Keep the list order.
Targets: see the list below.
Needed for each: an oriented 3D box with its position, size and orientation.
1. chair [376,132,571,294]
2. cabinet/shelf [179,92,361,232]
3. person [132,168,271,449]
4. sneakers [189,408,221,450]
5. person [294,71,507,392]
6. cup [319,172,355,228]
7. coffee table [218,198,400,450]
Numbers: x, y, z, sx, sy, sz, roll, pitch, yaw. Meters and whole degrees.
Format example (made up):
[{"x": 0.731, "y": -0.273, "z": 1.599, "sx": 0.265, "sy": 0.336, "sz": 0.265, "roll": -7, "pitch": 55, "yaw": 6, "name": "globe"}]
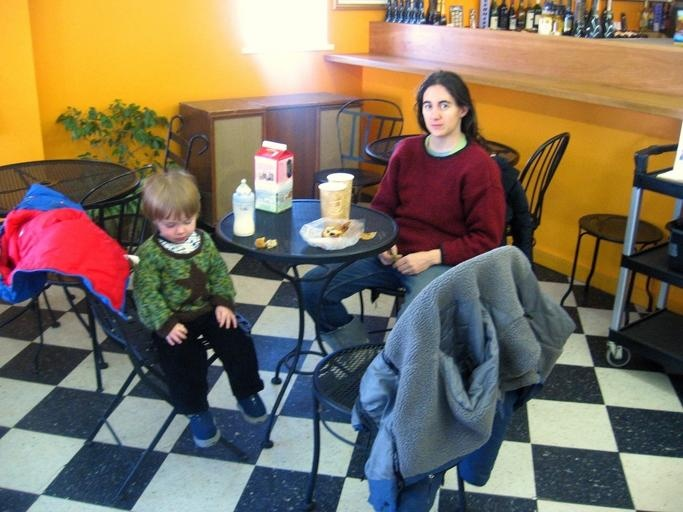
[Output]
[{"x": 0.953, "y": -0.321, "z": 3.387, "sx": 0.787, "sy": 0.998, "sz": 0.644, "roll": 14, "pitch": 22, "yaw": 30, "name": "chair"}, {"x": -0.365, "y": -0.723, "z": 4.113, "sx": 1.020, "sy": 0.715, "sz": 0.320, "roll": -4, "pitch": 0, "yaw": -3, "name": "cabinet/shelf"}, {"x": -0.549, "y": 0.224, "z": 2.069, "sx": 0.426, "sy": 1.077, "sz": 0.419, "roll": -8, "pitch": 28, "yaw": -15, "name": "person"}, {"x": -0.544, "y": 0.670, "z": 2.135, "sx": 0.093, "sy": 0.082, "sz": 0.206, "roll": -16, "pitch": 27, "yaw": -33, "name": "sneakers"}, {"x": 0.264, "y": -0.111, "z": 2.273, "sx": 0.884, "sy": 1.232, "sz": 0.800, "roll": -9, "pitch": 20, "yaw": -13, "name": "person"}, {"x": -0.021, "y": -0.238, "z": 2.152, "sx": 0.124, "sy": 0.183, "sz": 0.265, "roll": -1, "pitch": 25, "yaw": -1, "name": "cup"}, {"x": -0.153, "y": 0.299, "z": 2.279, "sx": 0.724, "sy": 0.734, "sz": 0.704, "roll": -3, "pitch": 5, "yaw": 2, "name": "coffee table"}]
